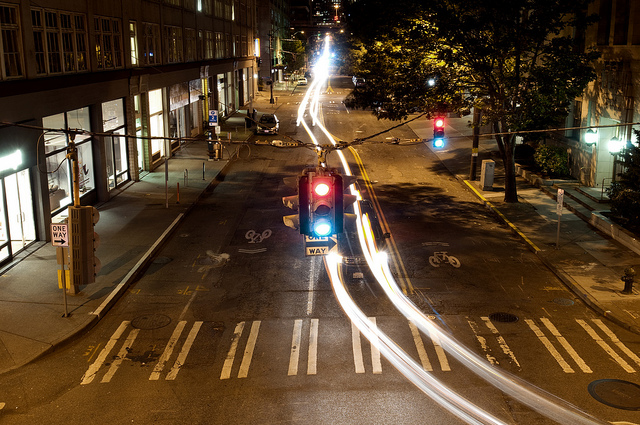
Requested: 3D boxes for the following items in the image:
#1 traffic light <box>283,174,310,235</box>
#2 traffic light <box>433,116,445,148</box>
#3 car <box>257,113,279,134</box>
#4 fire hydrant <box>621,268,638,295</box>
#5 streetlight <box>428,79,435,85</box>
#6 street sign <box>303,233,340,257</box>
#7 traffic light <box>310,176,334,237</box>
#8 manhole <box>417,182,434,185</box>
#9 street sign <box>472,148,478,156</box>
[{"bbox_3d":[-0.645,-0.201,12.157,0.770,1.580,0.653,2,-1,-1],"label":"traffic light"},{"bbox_3d":[6.331,-4.268,26.029,0.525,1.568,1.165,5,19,12],"label":"traffic light"},{"bbox_3d":[-5.978,-10.023,54.034,2.772,1.978,5.747,-1,11,-1],"label":"car"},{"bbox_3d":[12.660,2.801,19.973,0.626,1.135,0.333,-5,19,-16],"label":"fire hydrant"},{"bbox_3d":[7.196,-8.467,31.599,0.355,0.304,0.079,11,25,0],"label":"streetlight"},{"bbox_3d":[0.047,0.759,12.281,0.699,0.768,0.762,5,19,13],"label":"street sign"},{"bbox_3d":[0.033,-0.137,11.902,0.583,1.377,0.527,1,-1,1],"label":"traffic light"},{"bbox_3d":[7.814,-2.165,36.239,1.028,0.051,0.524,-1,17,-7],"label":"manhole"},{"bbox_3d":[11.403,-4.485,35.952,0.600,0.609,0.569,-5,14,-16],"label":"street sign"}]
